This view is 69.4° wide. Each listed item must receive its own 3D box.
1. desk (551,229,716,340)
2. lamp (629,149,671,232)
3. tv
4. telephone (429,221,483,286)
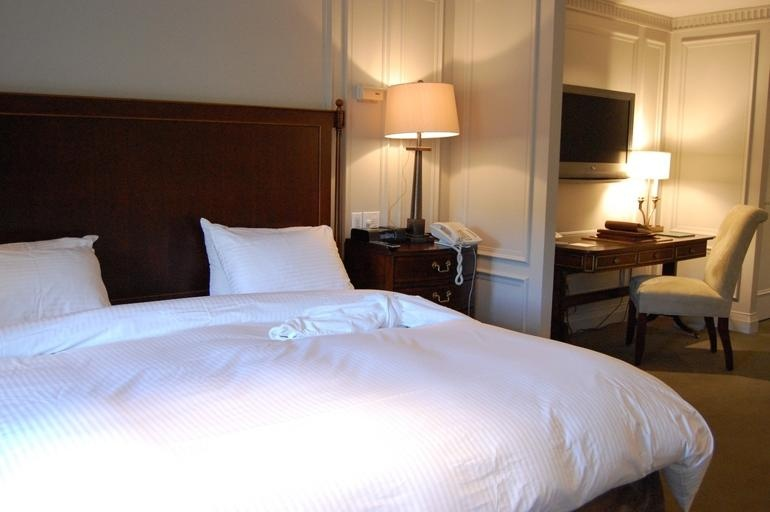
[{"bbox_3d":[2.246,0.243,5.103,1.621,0.786,0.574,-6,9,-27],"label":"desk"},{"bbox_3d":[2.597,-0.603,5.511,0.262,0.558,0.276,3,0,-12],"label":"lamp"},{"bbox_3d":[1.917,-1.127,5.207,1.031,0.844,0.190,-2,9,-26],"label":"tv"},{"bbox_3d":[0.522,-0.084,4.242,0.256,0.323,0.349,15,16,35],"label":"telephone"}]
